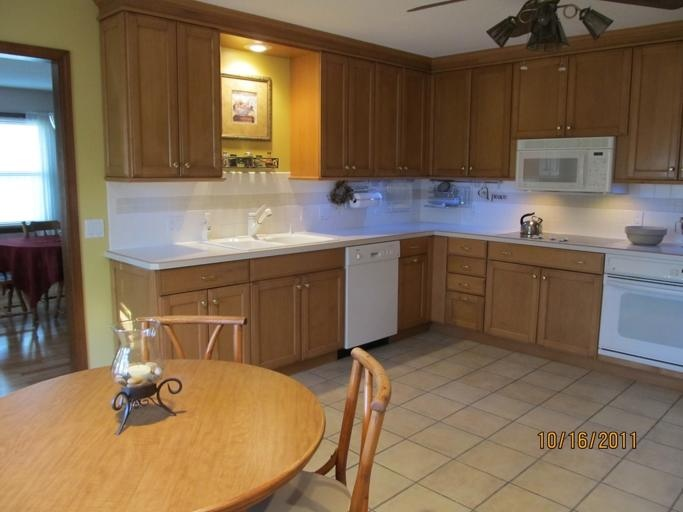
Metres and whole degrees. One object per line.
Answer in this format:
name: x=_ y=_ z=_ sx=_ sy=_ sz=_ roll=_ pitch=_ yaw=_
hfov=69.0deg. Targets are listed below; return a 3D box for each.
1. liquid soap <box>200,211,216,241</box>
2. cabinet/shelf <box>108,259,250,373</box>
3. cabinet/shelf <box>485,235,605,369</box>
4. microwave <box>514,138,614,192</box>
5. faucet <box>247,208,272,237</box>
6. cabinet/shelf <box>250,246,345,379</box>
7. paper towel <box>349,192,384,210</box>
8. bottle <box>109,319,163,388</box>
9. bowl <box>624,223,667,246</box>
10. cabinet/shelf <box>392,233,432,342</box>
liquid soap: x=-1.101 y=-0.241 z=4.058 sx=0.064 sy=0.226 sz=0.116 roll=5 pitch=14 yaw=15
cabinet/shelf: x=-1.113 y=0.423 z=3.711 sx=0.738 sy=0.906 sz=0.642 roll=-9 pitch=18 yaw=-39
cabinet/shelf: x=1.973 y=0.312 z=4.628 sx=1.092 sy=0.937 sz=0.624 roll=9 pitch=15 yaw=42
microwave: x=2.136 y=-0.841 z=4.601 sx=0.463 sy=0.514 sz=0.904 roll=-14 pitch=17 yaw=-40
faucet: x=-0.721 y=-0.292 z=4.296 sx=0.180 sy=0.250 sz=0.151 roll=-6 pitch=15 yaw=-25
cabinet/shelf: x=-0.493 y=0.423 z=4.150 sx=0.957 sy=1.026 sz=0.490 roll=-8 pitch=12 yaw=-43
paper towel: x=0.260 y=-0.573 z=5.076 sx=0.417 sy=0.150 sz=0.128 roll=-11 pitch=18 yaw=-44
bottle: x=-0.730 y=0.359 z=1.781 sx=0.172 sy=0.220 sz=0.173 roll=-1 pitch=-4 yaw=0
bowl: x=2.589 y=-0.161 z=4.172 sx=0.320 sy=0.147 sz=0.204 roll=0 pitch=13 yaw=-2
cabinet/shelf: x=0.736 y=0.256 z=4.915 sx=0.151 sy=0.881 sz=0.572 roll=10 pitch=16 yaw=34
